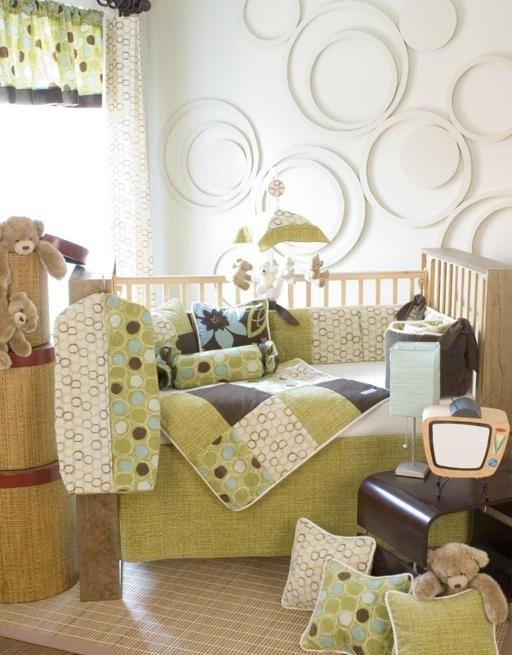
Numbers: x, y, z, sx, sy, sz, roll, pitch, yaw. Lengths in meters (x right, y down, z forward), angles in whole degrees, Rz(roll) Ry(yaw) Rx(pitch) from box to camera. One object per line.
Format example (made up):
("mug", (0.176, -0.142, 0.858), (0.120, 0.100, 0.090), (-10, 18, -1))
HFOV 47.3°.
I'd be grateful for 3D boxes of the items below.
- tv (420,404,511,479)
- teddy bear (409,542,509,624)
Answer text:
("tv", (0.525, 0.294, 1.553), (0.279, 0.214, 0.171), (0, 5, 6))
("teddy bear", (0.495, 0.620, 1.443), (0.218, 0.142, 0.158), (1, 5, 13))
